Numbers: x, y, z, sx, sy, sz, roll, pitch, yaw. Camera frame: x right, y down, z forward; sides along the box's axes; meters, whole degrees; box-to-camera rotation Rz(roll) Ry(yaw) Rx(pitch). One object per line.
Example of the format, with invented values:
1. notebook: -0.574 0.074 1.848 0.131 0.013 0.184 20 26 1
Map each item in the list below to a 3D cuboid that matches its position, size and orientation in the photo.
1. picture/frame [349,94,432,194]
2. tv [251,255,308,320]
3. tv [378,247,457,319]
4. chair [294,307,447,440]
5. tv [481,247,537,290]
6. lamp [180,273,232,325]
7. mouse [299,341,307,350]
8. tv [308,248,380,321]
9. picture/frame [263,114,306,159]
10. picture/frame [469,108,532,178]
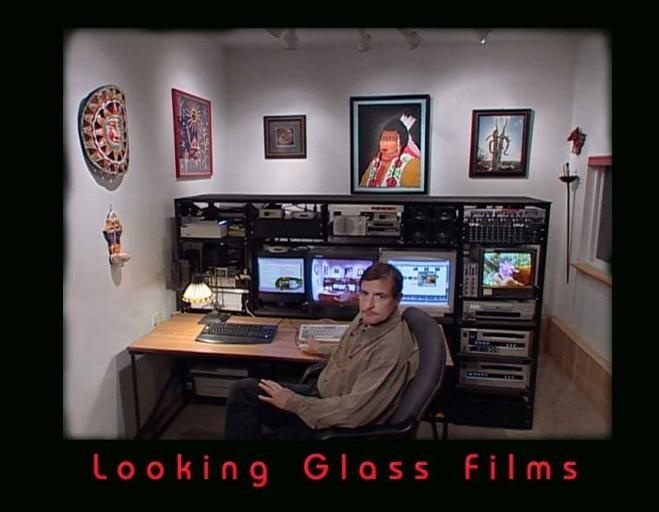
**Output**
1. picture/frame: 0.480 -0.878 3.932 0.687 0.857 0.059 1 10 5
2. tv: -0.309 0.182 3.200 0.346 0.392 0.209 1 7 6
3. tv: 0.531 0.096 3.289 0.558 0.514 0.340 1 9 6
4. chair: 0.184 0.438 2.095 0.478 0.593 0.439 0 10 -1
5. tv: 1.106 0.090 3.134 0.336 0.254 0.192 2 0 36
6. lamp: -0.724 0.244 3.060 0.257 0.267 0.168 3 21 -5
7. mouse: -0.139 0.473 2.747 0.030 0.043 0.042 2 -10 -2
8. tv: 0.067 0.142 3.233 0.437 0.443 0.280 3 21 1
9. picture/frame: -0.343 -0.947 4.049 0.312 0.331 0.035 0 9 2
10. picture/frame: 1.272 -0.855 3.829 0.467 0.568 0.041 1 14 5
